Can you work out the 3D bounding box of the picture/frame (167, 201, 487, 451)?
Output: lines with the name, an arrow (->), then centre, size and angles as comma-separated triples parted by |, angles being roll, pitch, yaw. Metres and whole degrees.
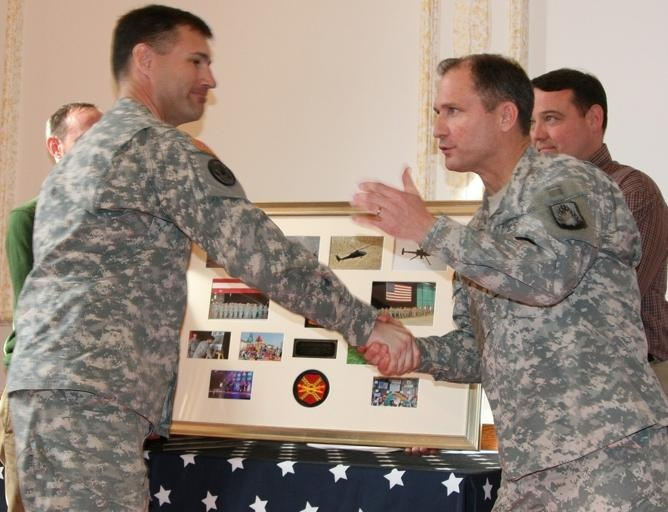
picture/frame -> -0.005, 0.278, 2.700 | 1.127, 0.740, 0.048 | 0, -22, 8
